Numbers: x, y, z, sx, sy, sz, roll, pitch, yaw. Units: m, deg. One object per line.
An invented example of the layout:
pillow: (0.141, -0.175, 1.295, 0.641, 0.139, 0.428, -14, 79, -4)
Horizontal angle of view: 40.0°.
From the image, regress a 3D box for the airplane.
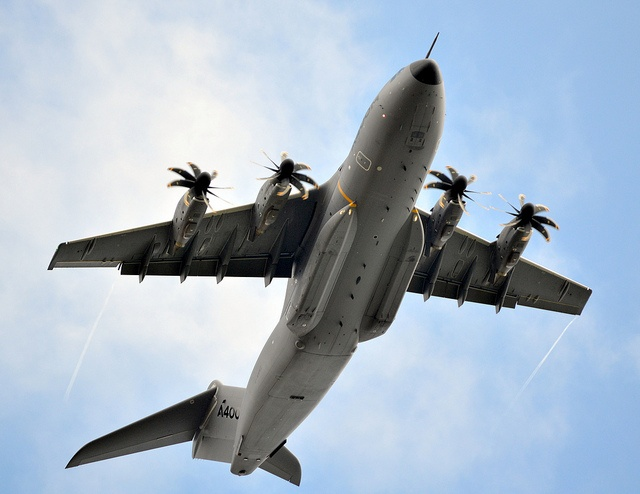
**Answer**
airplane: (-0.068, 1.691, 27.163, 12.784, 4.722, 15.768, 6, -74, -27)
